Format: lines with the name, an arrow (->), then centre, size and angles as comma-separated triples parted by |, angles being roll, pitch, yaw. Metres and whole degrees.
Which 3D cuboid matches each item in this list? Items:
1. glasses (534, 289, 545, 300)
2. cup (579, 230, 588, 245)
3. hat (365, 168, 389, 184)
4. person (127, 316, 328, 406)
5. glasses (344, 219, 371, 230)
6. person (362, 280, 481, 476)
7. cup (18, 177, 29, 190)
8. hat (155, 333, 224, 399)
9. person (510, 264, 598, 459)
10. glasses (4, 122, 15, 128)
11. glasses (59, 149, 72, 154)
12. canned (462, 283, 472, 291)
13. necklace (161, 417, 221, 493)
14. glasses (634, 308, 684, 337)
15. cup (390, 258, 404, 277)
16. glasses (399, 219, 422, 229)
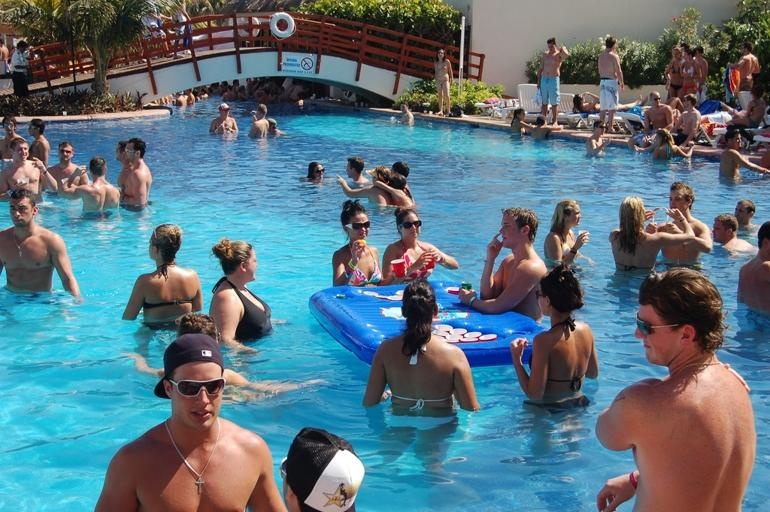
glasses -> 1.344, 0.354, 5.921 | 0.114, 0.034, 0.108 | 6, 8, 11
cup -> 2.548, -0.231, 8.783 | 0.095, 0.163, 0.247 | 6, 11, 28
hat -> -0.098, -1.511, 12.591 | 0.411, 0.225, 0.280 | 37, 44, 23
person -> -1.399, 0.903, 6.376 | 1.149, 0.452, 1.184 | -5, 13, -38
glasses -> -0.323, -0.365, 8.131 | 0.298, 0.098, 0.200 | -1, 9, -9
person -> 0.316, 0.851, 5.832 | 0.934, 1.249, 0.288 | -1, 10, -11
cup -> -6.149, -1.261, 11.703 | 0.179, 0.142, 0.120 | -3, 10, -21
hat -> -1.231, 0.667, 4.197 | 0.436, 0.308, 0.383 | -6, -7, 41
person -> 1.523, 0.817, 6.081 | 0.807, 1.531, 0.419 | 2, 10, 5
glasses -> -7.495, -2.627, 13.798 | 0.155, 0.081, 0.116 | -4, -1, -45
glasses -> -5.731, -1.880, 12.345 | 0.119, 0.063, 0.153 | 0, -1, -9
canned -> 0.934, 0.352, 7.700 | 0.088, 0.060, 0.084 | -1, 2, -11
necklace -> -1.165, 1.182, 4.212 | 0.242, 0.492, 0.071 | -7, -33, -14
glasses -> 1.544, 0.379, 3.868 | 0.213, 0.068, 0.154 | 3, 6, 0
cup -> 0.181, 0.152, 8.177 | 0.208, 0.171, 0.200 | -1, 18, 0
glasses -> 0.321, -0.371, 8.122 | 0.243, 0.101, 0.111 | -2, 10, -15
